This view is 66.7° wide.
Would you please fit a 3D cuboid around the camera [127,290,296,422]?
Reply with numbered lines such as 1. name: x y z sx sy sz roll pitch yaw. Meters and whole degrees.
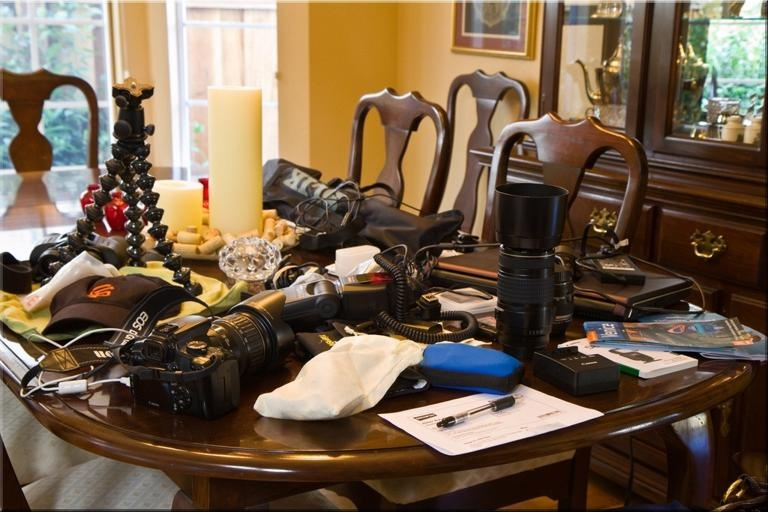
1. camera: -0.265 0.149 0.937 0.189 0.111 0.271 5 15 29

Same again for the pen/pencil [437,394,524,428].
1. pen/pencil: 0.144 0.230 0.860 0.126 0.016 0.020 -8 8 -37

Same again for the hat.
1. hat: -0.519 0.072 1.043 0.137 0.050 0.176 -1 6 6

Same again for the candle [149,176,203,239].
1. candle: -0.551 -0.130 1.560 0.167 0.157 0.157 -3 12 -29

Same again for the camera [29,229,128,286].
1. camera: -0.717 0.013 1.330 0.203 0.062 0.195 -16 2 -36
